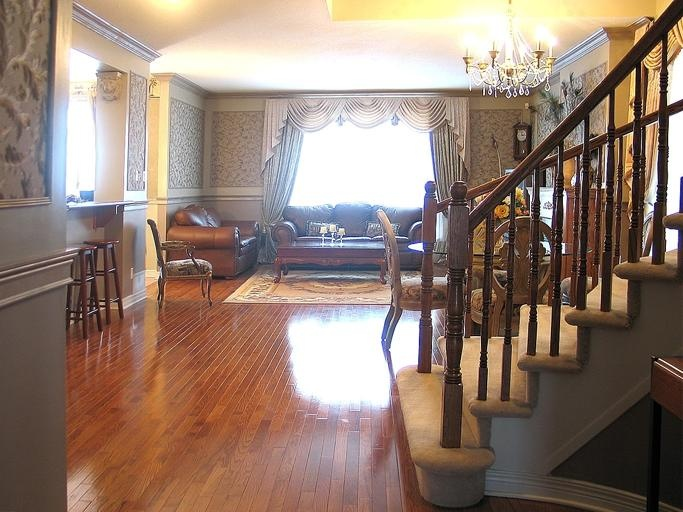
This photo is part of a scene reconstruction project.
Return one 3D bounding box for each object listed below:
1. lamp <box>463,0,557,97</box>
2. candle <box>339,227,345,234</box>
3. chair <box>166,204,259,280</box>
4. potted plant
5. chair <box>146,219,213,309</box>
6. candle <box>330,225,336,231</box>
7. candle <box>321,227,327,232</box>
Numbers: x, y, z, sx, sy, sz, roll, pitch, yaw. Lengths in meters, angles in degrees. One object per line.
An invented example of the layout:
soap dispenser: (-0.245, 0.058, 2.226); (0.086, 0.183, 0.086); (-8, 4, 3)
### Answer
lamp: (1.931, -2.438, 5.958); (0.803, 1.264, 0.864); (6, 12, 21)
candle: (-0.008, -0.441, 8.668); (0.085, 0.096, 0.093); (2, -1, 11)
chair: (-2.110, -0.221, 8.920); (1.036, 1.381, 1.899); (0, 6, 1)
potted plant: (3.190, -1.883, 7.817); (0.582, 1.597, 2.242); (3, 10, 18)
chair: (-2.025, 0.026, 6.554); (0.763, 1.134, 0.684); (-4, 6, -36)
candle: (-0.154, -0.476, 8.618); (0.080, 0.138, 0.130); (-1, 3, 5)
candle: (-0.308, -0.461, 8.755); (0.081, 0.104, 0.084); (2, 1, 13)
